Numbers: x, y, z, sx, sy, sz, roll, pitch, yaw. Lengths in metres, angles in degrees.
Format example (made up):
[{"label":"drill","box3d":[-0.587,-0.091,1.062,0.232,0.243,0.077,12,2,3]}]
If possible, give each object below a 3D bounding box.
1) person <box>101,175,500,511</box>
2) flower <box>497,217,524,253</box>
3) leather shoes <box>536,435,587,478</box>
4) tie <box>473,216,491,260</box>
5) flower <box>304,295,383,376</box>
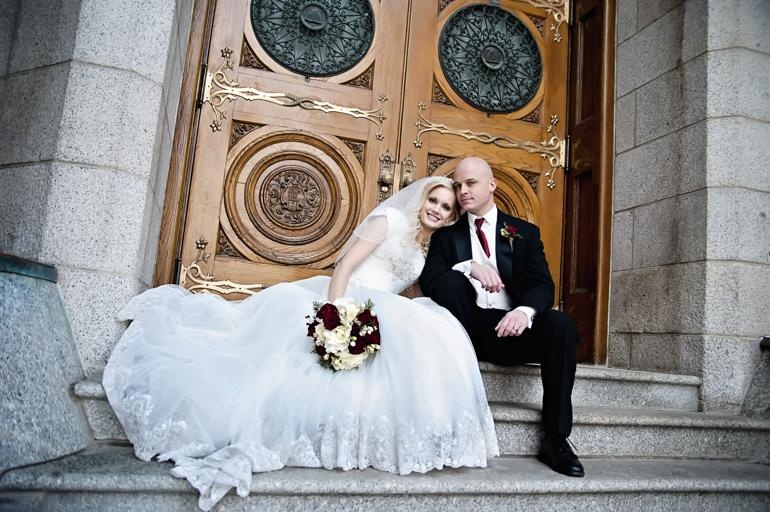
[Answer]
[{"label":"person","box3d":[-0.473,0.633,3.715,1.776,1.573,0.979,-1,-47,-10]},{"label":"flower","box3d":[0.847,-0.147,4.376,0.095,0.168,0.163,-14,1,33]},{"label":"leather shoes","box3d":[1.007,1.152,3.743,0.142,0.187,0.344,4,-6,-20]},{"label":"tie","box3d":[0.664,-0.132,4.423,0.084,0.274,0.027,-20,-11,3]},{"label":"flower","box3d":[-0.273,0.478,3.772,0.470,0.326,0.454,-4,7,3]}]
